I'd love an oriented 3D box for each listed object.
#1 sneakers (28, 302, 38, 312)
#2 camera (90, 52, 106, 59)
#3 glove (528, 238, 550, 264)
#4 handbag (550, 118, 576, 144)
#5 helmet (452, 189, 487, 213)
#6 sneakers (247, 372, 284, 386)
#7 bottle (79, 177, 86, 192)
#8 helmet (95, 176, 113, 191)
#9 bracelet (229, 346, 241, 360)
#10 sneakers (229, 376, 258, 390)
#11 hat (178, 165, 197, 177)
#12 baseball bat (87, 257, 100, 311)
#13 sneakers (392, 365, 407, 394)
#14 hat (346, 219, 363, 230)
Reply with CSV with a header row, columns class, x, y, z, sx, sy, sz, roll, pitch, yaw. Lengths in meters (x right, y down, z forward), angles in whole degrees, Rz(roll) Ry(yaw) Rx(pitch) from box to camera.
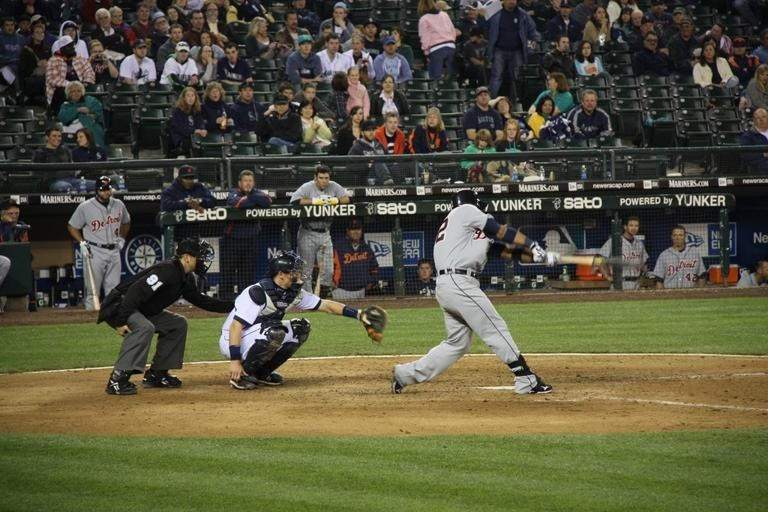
class,x,y,z,sx,sy,sz,roll,pitch,yaw
sneakers,-7.851,1.140,27.279,0.207,0.193,0.195,-1,-8,-2
camera,-7.000,-5.001,29.915,0.221,0.108,0.286,-4,4,-24
glove,2.473,-0.029,19.704,0.418,0.257,0.166,40,-31,-18
handbag,4.373,-3.103,29.706,0.539,0.645,0.288,-10,0,-5
helmet,1.444,-0.932,19.950,0.507,0.285,0.320,-6,9,-15
sneakers,-1.945,2.077,20.470,0.521,0.212,0.183,-6,13,-11
bottle,-6.750,-1.634,27.397,0.153,0.287,0.073,-2,13,-7
helmet,-5.946,-1.581,26.043,0.416,0.347,0.314,-10,-7,43
bracelet,-2.411,1.579,19.924,0.230,0.222,0.217,-2,7,-14
sneakers,-2.275,2.109,20.170,0.491,0.202,0.188,-2,6,6
hat,-4.291,-1.880,26.558,0.277,0.200,0.361,-2,5,-25
baseball bat,-6.249,0.547,26.304,0.180,1.192,0.196,-19,-13,20
sneakers,0.257,2.052,19.972,0.230,0.472,0.180,15,4,-4
hat,-0.620,-0.748,27.889,0.266,0.166,0.259,3,3,20
